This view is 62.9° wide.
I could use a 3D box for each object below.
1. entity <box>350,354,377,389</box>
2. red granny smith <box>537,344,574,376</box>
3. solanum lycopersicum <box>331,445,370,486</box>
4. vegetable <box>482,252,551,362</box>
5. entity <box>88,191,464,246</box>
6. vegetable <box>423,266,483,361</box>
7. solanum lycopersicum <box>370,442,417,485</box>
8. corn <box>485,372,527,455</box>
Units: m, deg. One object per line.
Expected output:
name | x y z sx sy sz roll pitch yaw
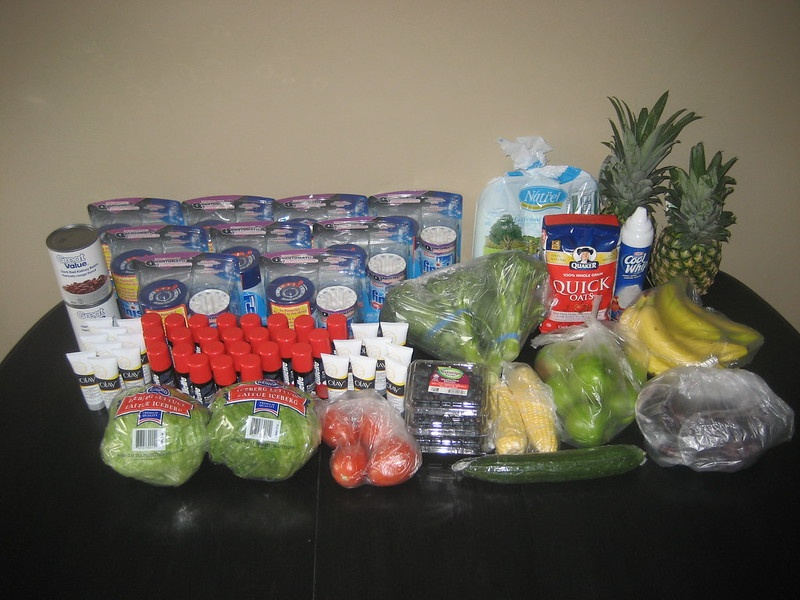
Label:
entity | -0.109 0.211 1.956 0.091 0.144 0.053 5 27 2
red granny smith | 0.476 0.186 2.048 0.063 0.087 0.110 37 57 -4
solanum lycopersicum | -0.142 0.461 1.874 0.106 0.105 0.109 10 -4 12
vegetable | 0.365 0.013 2.197 0.288 0.322 0.130 -5 13 -19
entity | -0.443 -0.311 2.370 1.331 0.130 0.155 -3 32 -2
vegetable | 0.189 0.048 2.123 0.191 0.300 0.105 -3 -4 5
solanum lycopersicum | -0.021 0.460 1.869 0.137 0.094 0.077 -20 -1 0
corn | 0.310 0.339 1.913 0.072 0.072 0.224 -6 36 1
